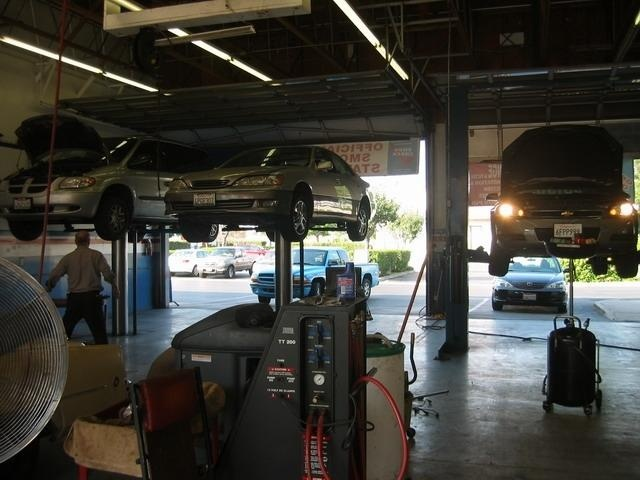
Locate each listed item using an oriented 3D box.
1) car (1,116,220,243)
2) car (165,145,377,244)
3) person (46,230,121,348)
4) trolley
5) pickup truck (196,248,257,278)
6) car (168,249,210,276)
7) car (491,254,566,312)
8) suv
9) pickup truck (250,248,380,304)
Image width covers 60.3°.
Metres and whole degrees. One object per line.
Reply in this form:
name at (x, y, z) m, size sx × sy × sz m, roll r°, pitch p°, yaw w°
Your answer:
car at (-3.669, -0.991, 9.700) m, size 1.838 × 1.682 × 3.726 m, roll -2°, pitch -1°, yaw 25°
car at (-0.671, -0.741, 8.943) m, size 1.625 × 1.279 × 2.903 m, roll -5°, pitch -7°, yaw 29°
person at (-3.390, 0.678, 7.921) m, size 0.899 × 1.600 × 0.737 m, roll -1°, pitch 0°, yaw -27°
trolley at (2.932, 1.433, 6.483) m, size 0.695 × 1.146 × 0.703 m, roll 5°, pitch -9°, yaw -15°
pickup truck at (-4.408, 1.127, 27.659) m, size 1.347 × 1.195 × 2.929 m, roll -2°, pitch -4°, yaw 17°
car at (-6.520, 1.326, 27.043) m, size 1.372 × 1.175 × 3.399 m, roll 0°, pitch 5°, yaw 10°
car at (5.656, 1.034, 14.870) m, size 1.430 × 1.333 × 2.914 m, roll -2°, pitch -9°, yaw 19°
suv at (3.637, -0.595, 8.295) m, size 2.028 × 2.286 × 1.712 m, roll 0°, pitch 0°, yaw 18°
pickup truck at (-0.520, 0.975, 15.868) m, size 3.236 × 1.557 × 4.792 m, roll 0°, pitch 1°, yaw 23°
